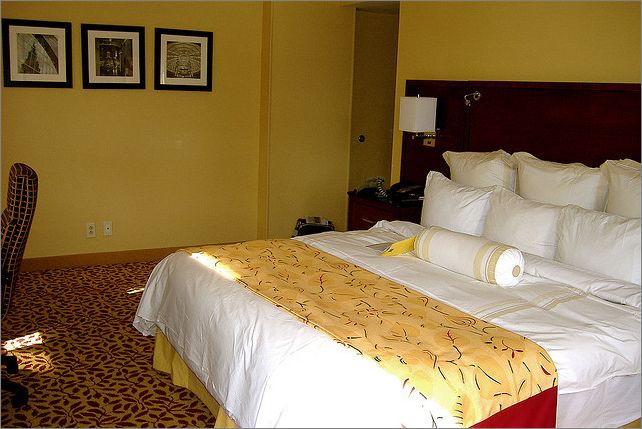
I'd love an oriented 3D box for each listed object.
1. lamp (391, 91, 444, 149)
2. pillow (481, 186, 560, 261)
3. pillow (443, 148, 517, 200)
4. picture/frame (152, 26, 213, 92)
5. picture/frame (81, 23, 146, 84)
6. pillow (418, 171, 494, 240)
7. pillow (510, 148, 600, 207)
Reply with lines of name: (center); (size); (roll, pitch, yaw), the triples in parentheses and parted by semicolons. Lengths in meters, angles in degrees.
lamp: (1.021, -1.046, 4.734); (0.461, 0.861, 0.461); (-3, 9, -18)
pillow: (1.577, 0.096, 3.358); (0.280, 0.489, 0.728); (-22, 26, -9)
pillow: (1.397, -0.369, 3.868); (0.571, 0.376, 0.200); (5, 17, 29)
picture/frame: (-1.673, -1.890, 5.174); (0.841, 0.850, 0.055); (-1, 8, -26)
picture/frame: (-2.355, -1.834, 4.877); (0.714, 0.721, 0.046); (-3, 9, -28)
pillow: (1.148, -0.045, 3.777); (0.227, 0.485, 0.628); (-11, 19, -33)
pillow: (1.840, -0.278, 3.375); (0.455, 0.330, 0.141); (10, -10, 46)
